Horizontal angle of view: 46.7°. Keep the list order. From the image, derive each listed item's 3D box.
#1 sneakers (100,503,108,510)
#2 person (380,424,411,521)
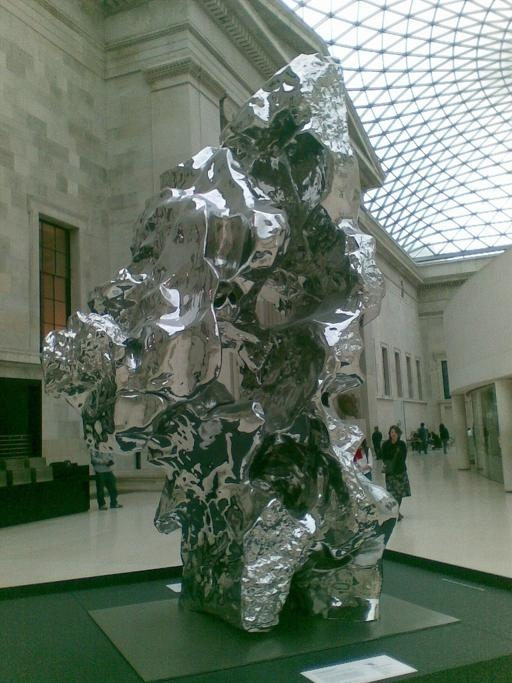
[{"bbox_3d":[-3.179,3.433,12.267,0.136,0.150,0.094,4,-10,-20],"label":"sneakers"},{"bbox_3d":[2.369,2.093,10.072,0.406,1.283,0.975,-5,-12,11],"label":"person"}]
